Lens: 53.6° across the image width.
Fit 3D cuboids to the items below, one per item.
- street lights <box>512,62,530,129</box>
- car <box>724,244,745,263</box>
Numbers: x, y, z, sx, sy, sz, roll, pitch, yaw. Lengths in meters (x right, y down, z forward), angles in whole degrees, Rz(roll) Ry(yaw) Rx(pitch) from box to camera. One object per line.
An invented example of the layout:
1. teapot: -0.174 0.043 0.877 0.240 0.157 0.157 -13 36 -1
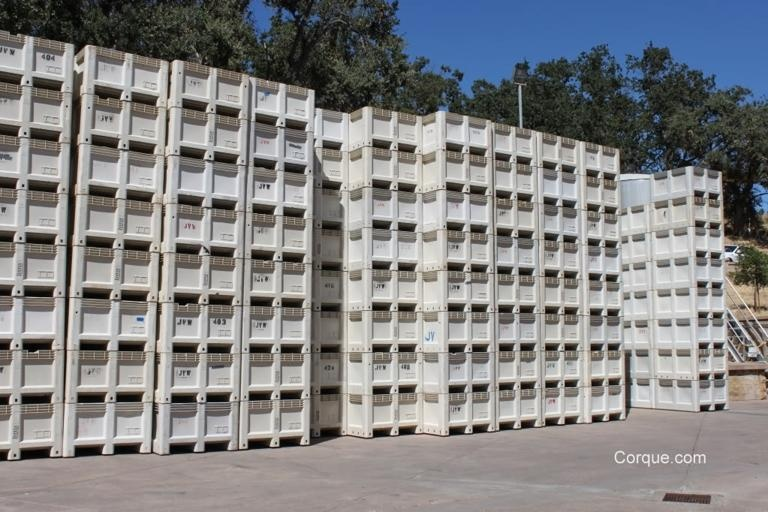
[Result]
1. street lights: 6.198 -7.351 35.109 0.667 2.716 0.624 -5 1 -2
2. car: 24.966 -0.203 53.916 1.088 0.887 1.905 -7 -12 44
